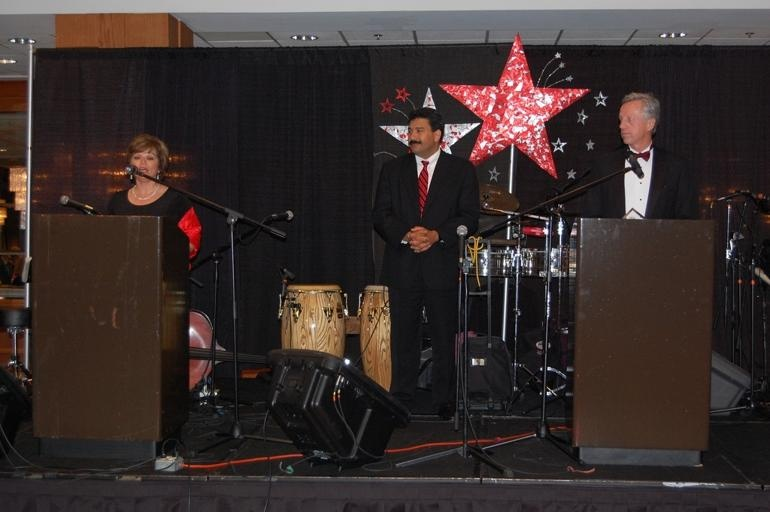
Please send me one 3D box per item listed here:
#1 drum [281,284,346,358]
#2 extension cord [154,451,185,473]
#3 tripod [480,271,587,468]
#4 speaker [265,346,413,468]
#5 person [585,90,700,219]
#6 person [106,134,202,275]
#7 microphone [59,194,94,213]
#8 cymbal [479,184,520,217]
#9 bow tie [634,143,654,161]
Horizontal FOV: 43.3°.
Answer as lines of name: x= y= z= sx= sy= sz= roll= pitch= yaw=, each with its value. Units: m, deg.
drum: x=-0.599 y=0.547 z=8.173 sx=0.586 sy=0.706 sz=0.599 roll=0 pitch=-7 yaw=-3
extension cord: x=-1.513 y=1.453 z=6.821 sx=0.206 sy=0.110 sz=0.142 roll=2 pitch=1 yaw=-16
tripod: x=1.366 y=0.813 z=8.480 sx=1.237 sy=1.601 sz=1.091 roll=-2 pitch=-1 yaw=20
speaker: x=-0.396 y=1.069 z=6.982 sx=0.942 sy=0.748 sz=0.747 roll=7 pitch=-6 yaw=-44
person: x=1.963 y=-0.768 z=7.497 sx=0.854 sy=0.745 sz=0.237 roll=2 pitch=1 yaw=11
person: x=-1.781 y=-0.479 z=7.746 sx=0.676 sy=1.004 sz=1.007 roll=1 pitch=1 yaw=-28
microphone: x=-2.228 y=-0.365 z=7.090 sx=0.237 sy=0.134 sz=0.497 roll=2 pitch=1 yaw=-17
cymbal: x=0.991 y=-0.500 z=8.575 sx=0.332 sy=0.182 sz=0.532 roll=2 pitch=1 yaw=10
bow tie: x=1.994 y=-0.800 z=7.504 sx=0.127 sy=0.068 sz=0.135 roll=-4 pitch=3 yaw=26
